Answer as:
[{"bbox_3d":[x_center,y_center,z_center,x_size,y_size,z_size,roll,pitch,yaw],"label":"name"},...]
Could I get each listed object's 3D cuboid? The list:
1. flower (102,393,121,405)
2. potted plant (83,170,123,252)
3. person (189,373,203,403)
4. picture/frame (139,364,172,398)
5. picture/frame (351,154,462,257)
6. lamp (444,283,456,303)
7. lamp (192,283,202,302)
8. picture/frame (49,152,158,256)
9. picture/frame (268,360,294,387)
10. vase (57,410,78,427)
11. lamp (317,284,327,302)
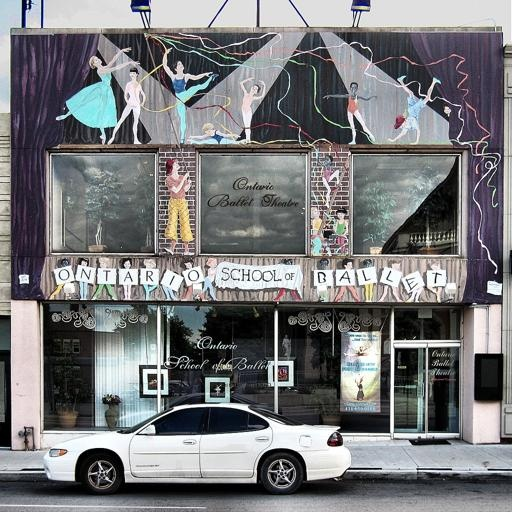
[{"bbox_3d":[-3.369,3.417,29.284,0.255,0.216,0.280,3,-5,-11],"label":"flower"},{"bbox_3d":[-3.672,-1.047,29.712,0.754,2.284,0.817,2,-10,1],"label":"potted plant"},{"bbox_3d":[-1.383,3.069,29.013,0.372,0.911,0.445,0,2,2],"label":"person"},{"bbox_3d":[-2.358,3.030,29.322,0.830,1.024,0.082,2,-42,-7],"label":"picture/frame"},{"bbox_3d":[3.494,-1.185,29.438,1.934,2.245,0.102,1,1,-2],"label":"picture/frame"},{"bbox_3d":[4.521,0.860,28.970,0.230,0.275,0.488,7,-35,12],"label":"lamp"},{"bbox_3d":[-1.339,0.862,29.004,0.266,0.609,0.297,0,3,-5],"label":"lamp"},{"bbox_3d":[-3.540,-1.200,29.468,1.966,2.300,0.099,0,2,3],"label":"picture/frame"},{"bbox_3d":[0.571,2.823,29.272,0.495,0.621,0.055,0,-5,-4],"label":"picture/frame"},{"bbox_3d":[-4.357,3.845,29.135,0.331,0.301,0.372,-1,-13,8],"label":"vase"},{"bbox_3d":[1.555,0.898,28.962,0.271,0.616,0.299,1,6,7],"label":"lamp"}]
